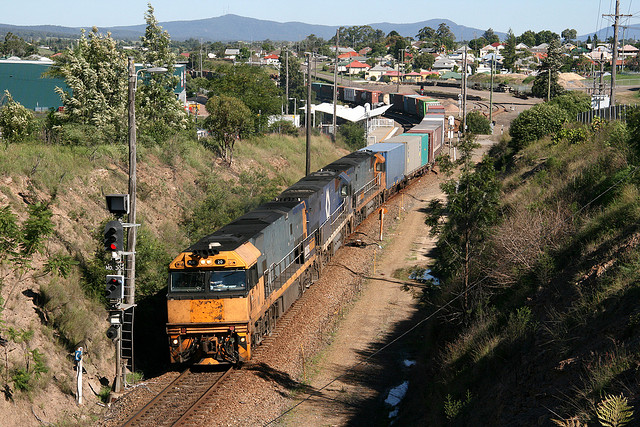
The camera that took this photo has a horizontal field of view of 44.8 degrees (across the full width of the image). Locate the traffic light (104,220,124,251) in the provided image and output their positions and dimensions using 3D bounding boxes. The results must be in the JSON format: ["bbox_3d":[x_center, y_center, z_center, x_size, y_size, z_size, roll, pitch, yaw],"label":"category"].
[{"bbox_3d":[-8.998,0.979,33.822,0.795,1.350,0.388,-7,16,-16],"label":"traffic light"}]

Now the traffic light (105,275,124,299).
[{"bbox_3d":[-9.042,3.215,34.389,0.827,1.359,0.862,0,-6,-5],"label":"traffic light"}]

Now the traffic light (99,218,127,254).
[{"bbox_3d":[-9.012,0.933,33.818,0.674,1.362,0.652,2,0,-10],"label":"traffic light"}]
